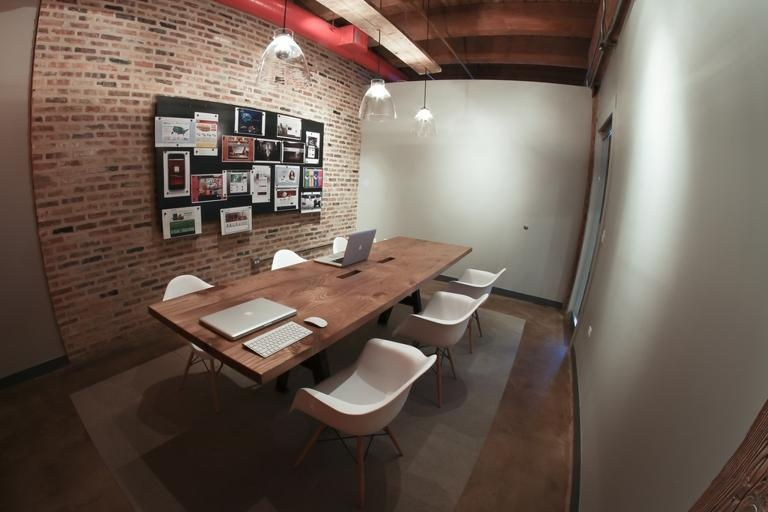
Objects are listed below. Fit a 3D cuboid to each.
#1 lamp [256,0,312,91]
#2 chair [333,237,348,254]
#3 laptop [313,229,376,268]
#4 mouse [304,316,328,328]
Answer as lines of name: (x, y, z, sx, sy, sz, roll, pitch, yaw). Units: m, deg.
lamp: (-0.776, -1.521, 3.502, 0.388, 0.413, 0.141, -1, 15, -17)
chair: (-0.502, -0.109, 5.197, 0.165, 0.213, 0.152, 21, 27, 36)
laptop: (-0.398, -0.151, 4.512, 0.395, 0.341, 0.529, 23, 27, 29)
mouse: (-0.494, 0.479, 3.307, 0.137, 0.034, 0.075, 9, 17, 28)
